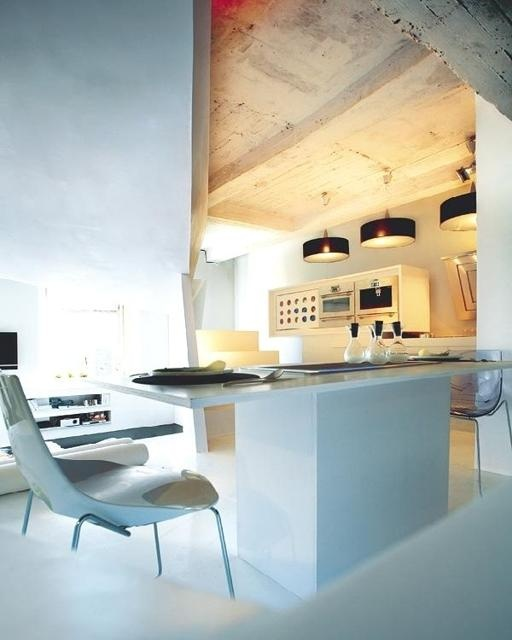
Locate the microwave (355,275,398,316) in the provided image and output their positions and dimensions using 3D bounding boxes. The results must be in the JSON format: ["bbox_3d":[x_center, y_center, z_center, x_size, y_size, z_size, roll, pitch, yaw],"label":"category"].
[{"bbox_3d":[1.296,-0.249,5.024,0.350,0.450,0.641,3,-4,-27],"label":"microwave"}]

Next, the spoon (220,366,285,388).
[{"bbox_3d":[0.009,0.143,1.259,0.049,0.048,0.282,3,0,32],"label":"spoon"}]
